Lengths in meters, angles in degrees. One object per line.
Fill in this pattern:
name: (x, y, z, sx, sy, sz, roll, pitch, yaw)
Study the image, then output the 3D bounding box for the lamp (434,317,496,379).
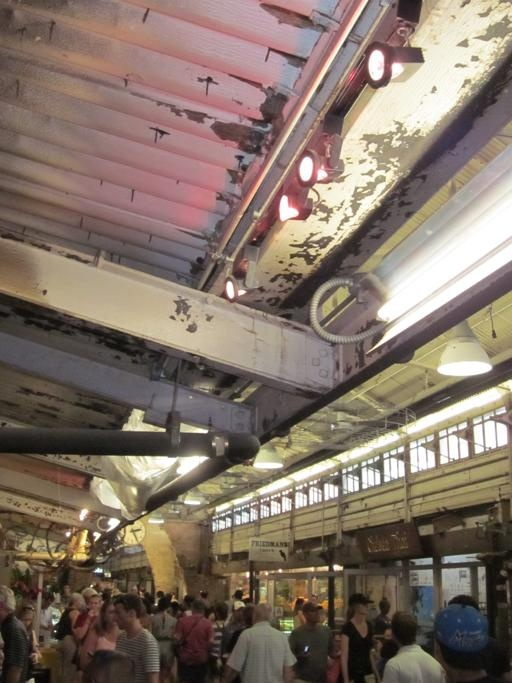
lamp: (1.299, 0.009, 4.039, 0.293, 0.256, 0.264, 2, -8, -15)

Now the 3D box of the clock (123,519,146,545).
clock: (-2.610, 4.037, 13.699, 0.476, 0.476, 0.970, 5, -20, -10)

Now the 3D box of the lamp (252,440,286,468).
lamp: (0.125, 1.307, 7.522, 0.316, 0.309, 0.503, 1, -20, -1)

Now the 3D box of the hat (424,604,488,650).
hat: (0.695, 0.953, 2.146, 0.176, 0.110, 0.214, 5, -1, -5)
